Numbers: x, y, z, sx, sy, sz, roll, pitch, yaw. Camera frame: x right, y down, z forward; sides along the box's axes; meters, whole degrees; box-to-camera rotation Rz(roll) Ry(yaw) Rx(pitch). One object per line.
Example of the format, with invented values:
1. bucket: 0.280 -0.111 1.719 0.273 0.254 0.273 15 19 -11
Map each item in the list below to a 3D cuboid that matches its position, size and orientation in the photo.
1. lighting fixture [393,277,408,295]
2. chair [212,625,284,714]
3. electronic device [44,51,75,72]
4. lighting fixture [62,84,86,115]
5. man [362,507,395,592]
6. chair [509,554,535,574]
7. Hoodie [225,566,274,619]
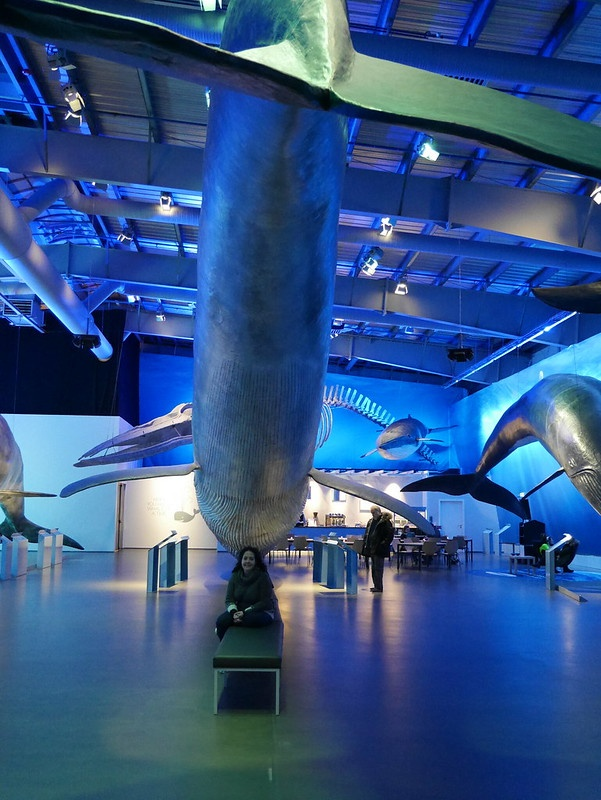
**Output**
1. lighting fixture: 2.393 -2.776 14.833 0.401 0.403 0.654 4 1 6
2. chair: -0.388 2.106 4.582 0.444 0.440 1.350 1 -8 -1
3. electronic device: -3.387 -4.810 8.738 0.398 0.362 0.288 -6 4 -10
4. lighting fixture: -3.357 -4.515 9.209 0.290 0.150 0.453 1 -32 2
5. man: 1.395 2.759 11.251 0.413 1.450 0.595 20 -25 -33
6. chair: 6.057 4.511 17.069 0.698 0.584 0.700 1 -3 -7
7. Hoodie: -0.405 1.754 5.672 0.468 0.472 0.434 -8 -35 13
